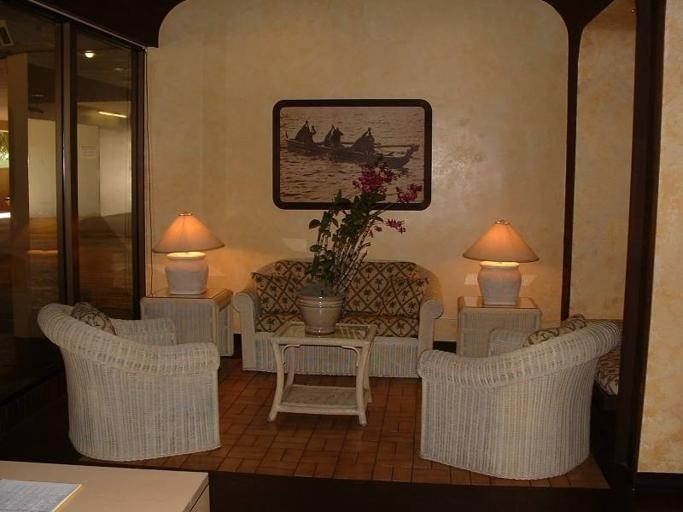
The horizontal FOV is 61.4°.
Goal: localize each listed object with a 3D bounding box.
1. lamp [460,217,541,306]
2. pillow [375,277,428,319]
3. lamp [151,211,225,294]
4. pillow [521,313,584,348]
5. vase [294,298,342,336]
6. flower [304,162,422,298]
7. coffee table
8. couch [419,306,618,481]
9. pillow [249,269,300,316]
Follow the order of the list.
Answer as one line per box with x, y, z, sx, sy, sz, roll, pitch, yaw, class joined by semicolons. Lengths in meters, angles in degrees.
1.405;0.054;5.277;0.748;0.779;0.730;-2;2;-29;lamp
0.544;0.370;5.162;0.387;0.354;0.119;-1;-32;40;pillow
-1.417;-0.010;5.403;0.539;0.755;0.455;3;10;12;lamp
1.392;0.502;3.853;0.434;0.090;0.131;-20;13;-7;pillow
-0.158;0.434;4.225;0.304;0.224;0.290;1;-4;2;vase
0.221;-0.243;5.002;1.115;1.123;2.144;1;10;1;flower
-0.139;0.904;4.438;0.861;0.639;0.695;0;0;9;coffee table
1.124;0.764;3.742;1.029;0.900;1.054;4;5;33;couch
-0.611;0.351;5.322;0.436;0.397;0.130;-1;-19;-11;pillow
